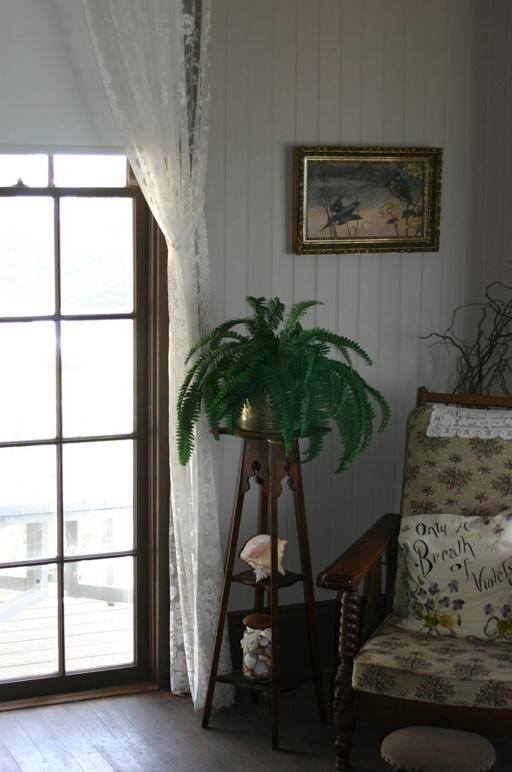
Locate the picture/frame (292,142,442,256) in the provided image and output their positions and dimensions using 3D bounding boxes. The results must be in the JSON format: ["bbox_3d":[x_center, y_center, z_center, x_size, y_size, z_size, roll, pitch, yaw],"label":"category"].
[{"bbox_3d":[0.352,-0.641,2.256,0.397,0.278,0.021,-3,10,-17],"label":"picture/frame"}]

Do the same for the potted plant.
[{"bbox_3d":[0.047,-0.010,1.844,0.476,0.464,0.555,0,0,-43],"label":"potted plant"}]
